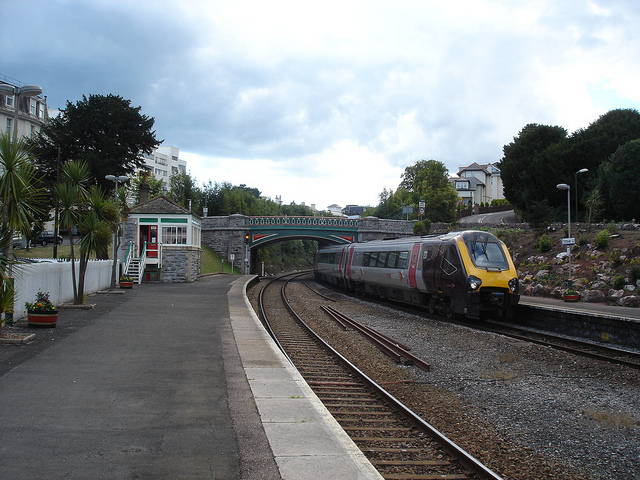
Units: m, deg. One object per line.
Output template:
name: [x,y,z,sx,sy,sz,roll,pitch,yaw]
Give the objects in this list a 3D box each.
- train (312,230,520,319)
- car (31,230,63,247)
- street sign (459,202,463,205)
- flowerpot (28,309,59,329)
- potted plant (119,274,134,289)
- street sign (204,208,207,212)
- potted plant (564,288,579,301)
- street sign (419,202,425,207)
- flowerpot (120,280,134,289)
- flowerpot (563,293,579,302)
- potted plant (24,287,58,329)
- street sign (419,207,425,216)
train: [3.902,1.808,28.149,2.268,3.579,21.221,7,-4,-15]
car: [-22.546,0.002,39.254,1.277,1.208,2.387,2,6,15]
street sign: [31.692,-8.128,107.735,1.534,0.658,1.596,-1,2,17]
flowerpot: [-8.027,2.292,13.800,0.585,0.403,0.588,2,-6,-9]
potted plant: [-10.918,2.474,26.905,0.589,0.487,0.638,0,-3,21]
street sign: [-14.261,-3.628,59.376,0.431,0.447,0.304,0,-7,-10]
potted plant: [13.383,3.017,25.481,0.582,0.436,0.592,1,-3,23]
street sign: [12.067,-4.010,56.552,0.649,0.779,0.762,-3,10,-20]
flowerpot: [-10.897,2.546,26.878,0.494,0.326,0.506,2,-2,-36]
flowerpot: [13.399,3.143,25.424,0.793,0.507,0.444,4,1,6]
potted plant: [-8.181,2.062,14.023,0.824,1.110,0.806,-3,-4,43]
street sign: [12.101,-3.338,57.093,0.486,0.926,1.326,4,1,0]
